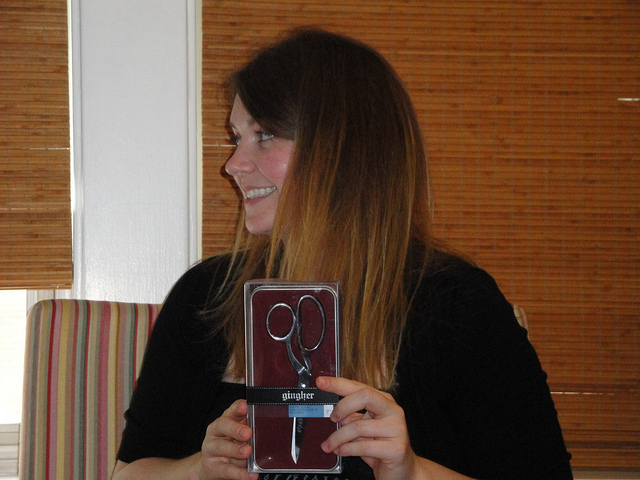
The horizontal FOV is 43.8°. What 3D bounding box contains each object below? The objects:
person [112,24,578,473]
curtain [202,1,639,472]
[{"bbox_3d":[0.018,-0.002,2.079,0.720,1.321,1.248,6,-6,-33],"label":"person"},{"bbox_3d":[0.256,-0.045,2.133,1.361,1.551,0.034,1,2,5],"label":"curtain"}]
